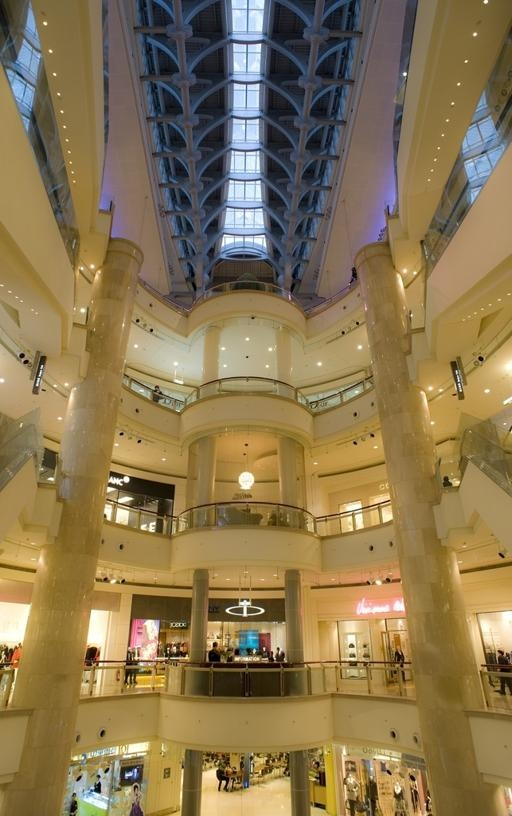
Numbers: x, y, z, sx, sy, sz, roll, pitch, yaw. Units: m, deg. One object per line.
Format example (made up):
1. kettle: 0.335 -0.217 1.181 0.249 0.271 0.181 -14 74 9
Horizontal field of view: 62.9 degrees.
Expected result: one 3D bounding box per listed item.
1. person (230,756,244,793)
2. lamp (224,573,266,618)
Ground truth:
1. person: -0.744 13.649 15.657 0.497 1.168 0.561 2 -8 -11
2. lamp: -0.453 7.479 16.571 1.525 1.939 1.897 -6 -47 7
